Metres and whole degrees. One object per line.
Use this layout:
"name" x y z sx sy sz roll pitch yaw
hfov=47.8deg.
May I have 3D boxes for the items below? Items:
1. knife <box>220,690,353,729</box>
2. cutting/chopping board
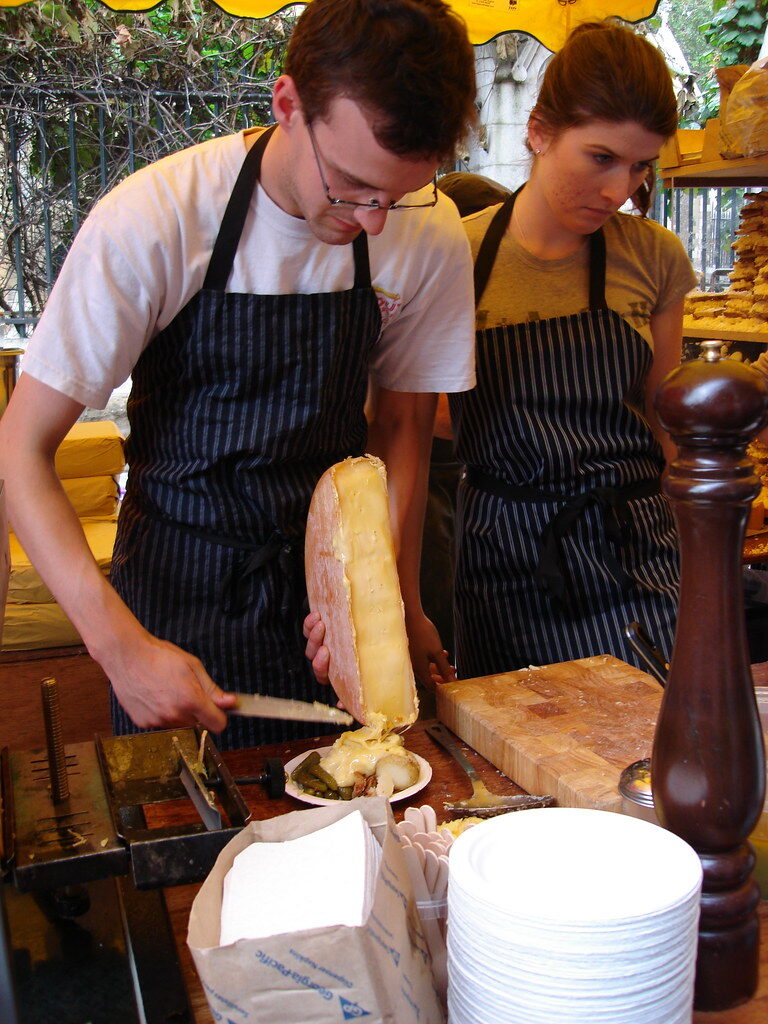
"knife" -0.157 0.340 1.503 0.205 0.050 0.128 -1 13 5
"cutting/chopping board" 0.315 0.351 1.444 0.257 0.054 0.357 -4 9 -16
